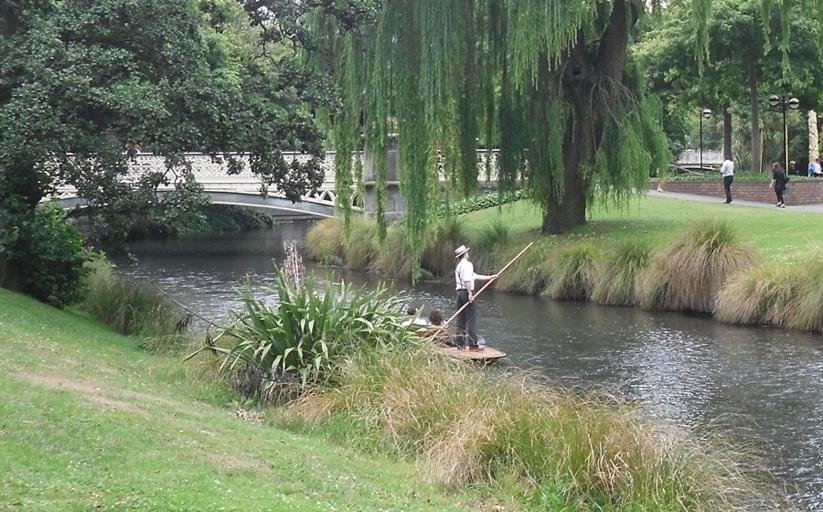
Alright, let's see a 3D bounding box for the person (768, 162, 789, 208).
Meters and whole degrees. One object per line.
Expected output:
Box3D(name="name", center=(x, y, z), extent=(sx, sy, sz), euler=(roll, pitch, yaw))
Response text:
Box3D(name="person", center=(14.652, -2.859, 36.419), extent=(0.520, 1.716, 3.490), euler=(1, 8, 21))
